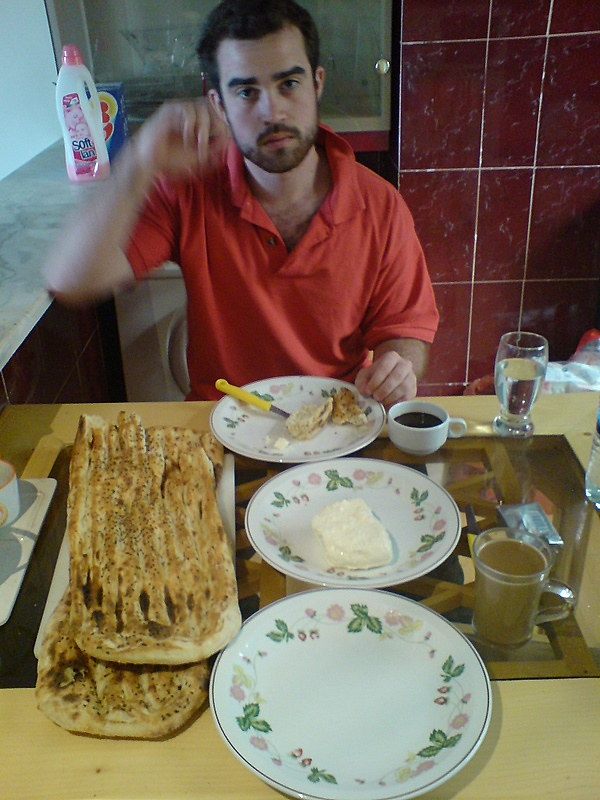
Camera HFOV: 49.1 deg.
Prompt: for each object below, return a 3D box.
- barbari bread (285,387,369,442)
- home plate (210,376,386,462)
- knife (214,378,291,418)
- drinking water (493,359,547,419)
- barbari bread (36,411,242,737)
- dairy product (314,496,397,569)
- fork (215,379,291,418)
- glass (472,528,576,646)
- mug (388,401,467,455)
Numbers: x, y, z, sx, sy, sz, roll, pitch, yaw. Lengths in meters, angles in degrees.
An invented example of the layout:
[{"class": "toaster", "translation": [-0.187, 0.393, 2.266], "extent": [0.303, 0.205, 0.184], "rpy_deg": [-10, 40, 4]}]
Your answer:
[{"class": "barbari bread", "translation": [0.049, 0.026, 1.170], "extent": [0.120, 0.034, 0.082], "rpy_deg": [-24, 48, -26]}, {"class": "home plate", "translation": [0.000, 0.030, 1.179], "extent": [0.306, 0.043, 0.305], "rpy_deg": [7, 27, 14]}, {"class": "knife", "translation": [-0.085, -0.003, 1.242], "extent": [0.145, 0.020, 0.022], "rpy_deg": [28, 51, 30]}, {"class": "drinking water", "translation": [0.375, -0.018, 1.139], "extent": [0.082, 0.114, 0.070], "rpy_deg": [22, 34, 37]}, {"class": "barbari bread", "translation": [-0.203, 0.176, 0.875], "extent": [0.241, 0.094, 0.492], "rpy_deg": [-3, 38, -8]}, {"class": "dairy product", "translation": [0.071, 0.181, 0.879], "extent": [0.092, 0.037, 0.116], "rpy_deg": [-7, 27, -14]}, {"class": "fork", "translation": [-0.083, -0.002, 1.236], "extent": [0.135, 0.019, 0.019], "rpy_deg": [28, 53, 31]}, {"class": "glass", "translation": [0.257, 0.221, 0.745], "extent": [0.115, 0.112, 0.080], "rpy_deg": [7, 22, 20]}, {"class": "mug", "translation": [0.212, 0.052, 1.084], "extent": [0.129, 0.070, 0.093], "rpy_deg": [5, 29, 13]}]
